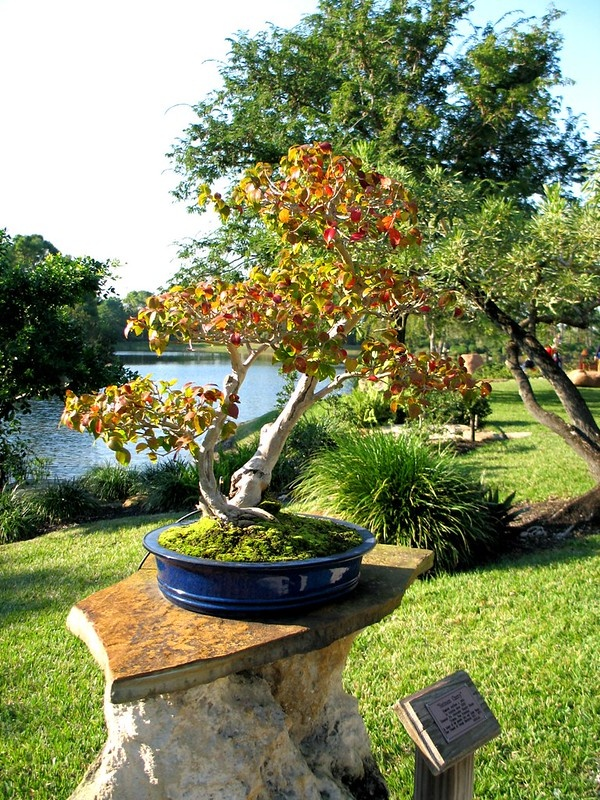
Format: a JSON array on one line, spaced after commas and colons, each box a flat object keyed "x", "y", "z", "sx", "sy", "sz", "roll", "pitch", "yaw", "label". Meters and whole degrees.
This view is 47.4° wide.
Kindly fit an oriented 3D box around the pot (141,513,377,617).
[{"x": -0.102, "y": 0.566, "z": 2.414, "sx": 0.805, "sy": 0.239, "sz": 0.598, "roll": -5, "pitch": 7, "yaw": -24, "label": "pot"}]

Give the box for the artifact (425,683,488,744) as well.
[{"x": 0.484, "y": 0.938, "z": 2.082, "sx": 0.203, "sy": 0.122, "sz": 0.053, "roll": -12, "pitch": -29, "yaw": -47, "label": "artifact"}]
